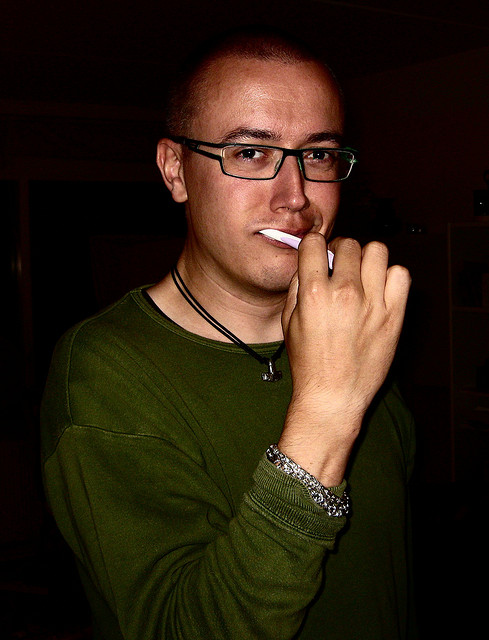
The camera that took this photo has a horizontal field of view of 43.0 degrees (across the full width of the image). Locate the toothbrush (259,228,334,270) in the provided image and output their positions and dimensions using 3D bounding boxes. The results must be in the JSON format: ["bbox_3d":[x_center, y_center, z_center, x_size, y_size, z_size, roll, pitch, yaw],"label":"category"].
[{"bbox_3d":[0.063,-0.115,0.881,0.049,0.045,0.086,4,2,-27],"label":"toothbrush"}]

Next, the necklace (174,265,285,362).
[{"bbox_3d":[-0.039,-0.015,0.994,0.201,0.125,0.072,5,1,20],"label":"necklace"}]

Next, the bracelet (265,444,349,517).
[{"bbox_3d":[0.077,0.185,0.749,0.091,0.035,0.072,35,11,9],"label":"bracelet"}]
